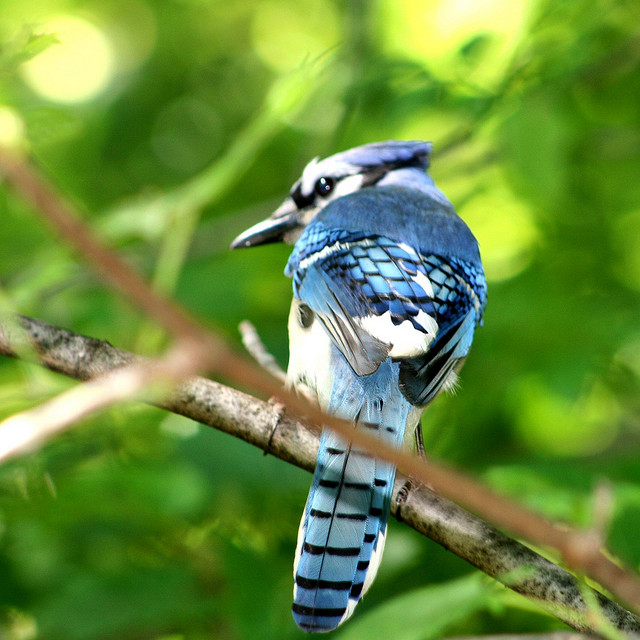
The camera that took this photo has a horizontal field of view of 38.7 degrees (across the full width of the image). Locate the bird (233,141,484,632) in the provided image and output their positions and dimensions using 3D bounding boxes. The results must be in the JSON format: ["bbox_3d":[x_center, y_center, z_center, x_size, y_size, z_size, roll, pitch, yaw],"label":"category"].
[{"bbox_3d":[0.158,-0.001,3.063,0.594,0.808,1.870,10,33,-8],"label":"bird"}]
